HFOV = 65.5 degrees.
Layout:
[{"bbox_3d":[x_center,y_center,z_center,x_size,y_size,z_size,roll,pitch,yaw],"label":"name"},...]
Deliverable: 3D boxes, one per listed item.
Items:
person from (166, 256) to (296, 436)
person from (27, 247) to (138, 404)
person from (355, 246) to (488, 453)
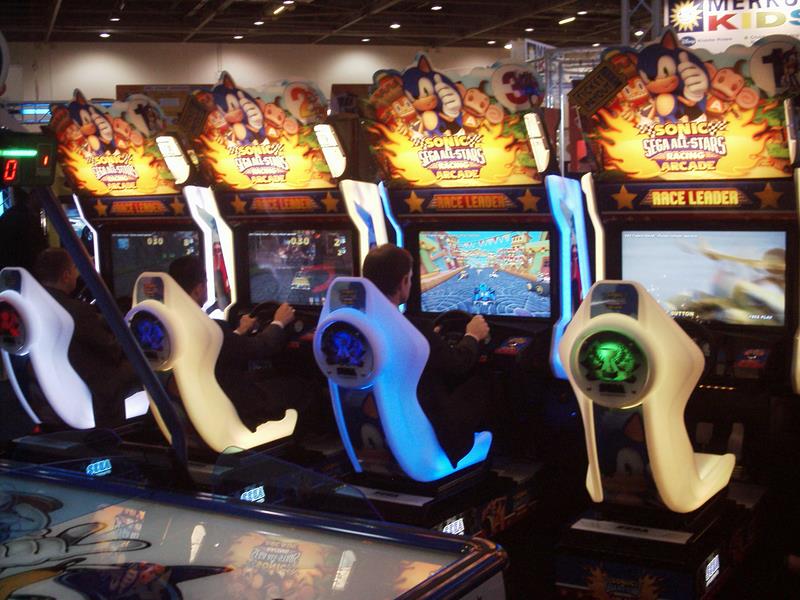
[{"bbox_3d":[-1.048,0.252,4.108,0.524,1.072,0.853,1,10,25],"label":"person"},{"bbox_3d":[-2.171,0.186,4.340,0.493,1.028,0.504,-9,11,-30],"label":"person"},{"bbox_3d":[0.158,0.290,3.555,0.964,1.181,0.499,-11,12,-40],"label":"person"}]
